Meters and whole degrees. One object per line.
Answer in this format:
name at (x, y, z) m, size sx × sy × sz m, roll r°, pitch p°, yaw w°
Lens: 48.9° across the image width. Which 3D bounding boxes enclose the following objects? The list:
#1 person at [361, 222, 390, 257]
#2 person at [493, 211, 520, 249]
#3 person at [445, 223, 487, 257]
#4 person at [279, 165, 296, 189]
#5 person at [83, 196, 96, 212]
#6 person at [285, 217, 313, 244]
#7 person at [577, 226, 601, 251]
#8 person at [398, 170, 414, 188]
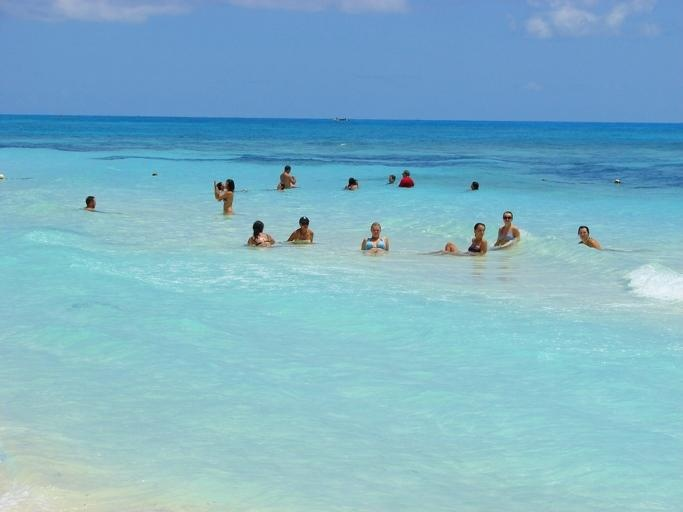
person at (0.834, -0.457, 18.520) m, size 0.669 × 0.744 × 0.554 m, roll 3°, pitch 14°, yaw 4°
person at (4.444, -0.687, 19.827) m, size 0.688 × 0.936 × 0.874 m, roll 4°, pitch 14°, yaw 11°
person at (3.246, -0.482, 19.016) m, size 0.958 × 0.805 × 1.552 m, roll 4°, pitch 12°, yaw 12°
person at (-2.394, -3.463, 32.658) m, size 0.650 × 1.014 × 1.014 m, roll 2°, pitch 13°, yaw 1°
person at (-8.163, -1.715, 24.199) m, size 0.359 × 0.423 × 0.833 m, roll -3°, pitch 13°, yaw -19°
person at (-1.078, -0.706, 19.699) m, size 0.628 × 0.749 × 0.791 m, roll 4°, pitch 13°, yaw 8°
person at (6.467, -0.480, 19.315) m, size 0.554 × 0.504 × 1.236 m, roll 5°, pitch 12°, yaw 13°
person at (3.004, -3.575, 34.159) m, size 0.619 × 0.793 × 1.490 m, roll 3°, pitch 12°, yaw 5°
